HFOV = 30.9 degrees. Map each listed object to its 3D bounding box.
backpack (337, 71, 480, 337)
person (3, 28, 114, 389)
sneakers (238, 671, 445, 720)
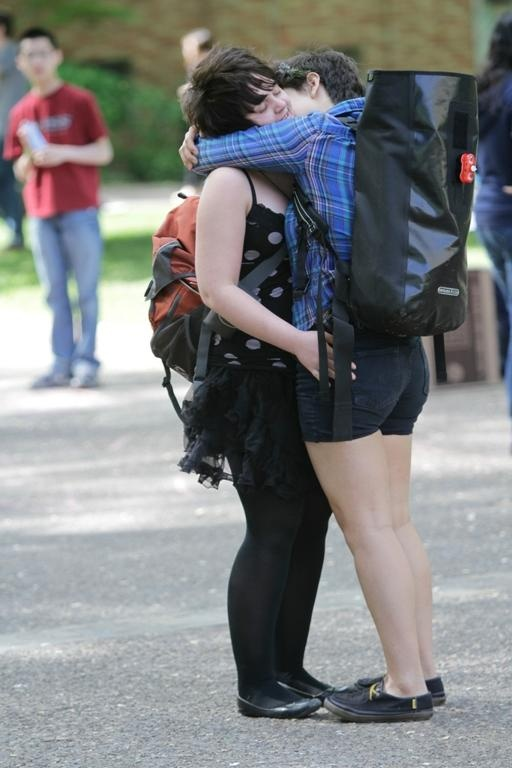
[{"bbox_3d":[0.356,-0.398,2.060,0.324,0.572,0.142,-5,3,-35],"label":"backpack"},{"bbox_3d":[-1.323,-1.224,6.396,0.692,2.516,0.552,-4,3,-8],"label":"person"},{"bbox_3d":[0.205,0.761,2.257,0.249,0.060,0.184,-1,-6,16],"label":"sneakers"}]
